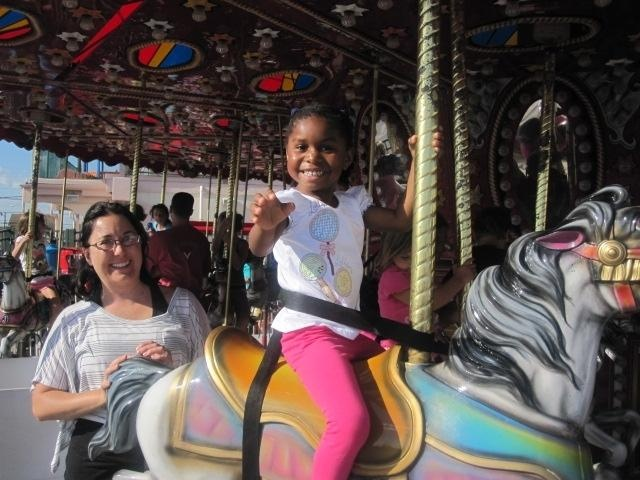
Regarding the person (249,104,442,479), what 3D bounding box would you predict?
[{"bbox_3d":[0.061,0.166,2.653,0.723,1.618,0.665,0,-1,9],"label":"person"}]
